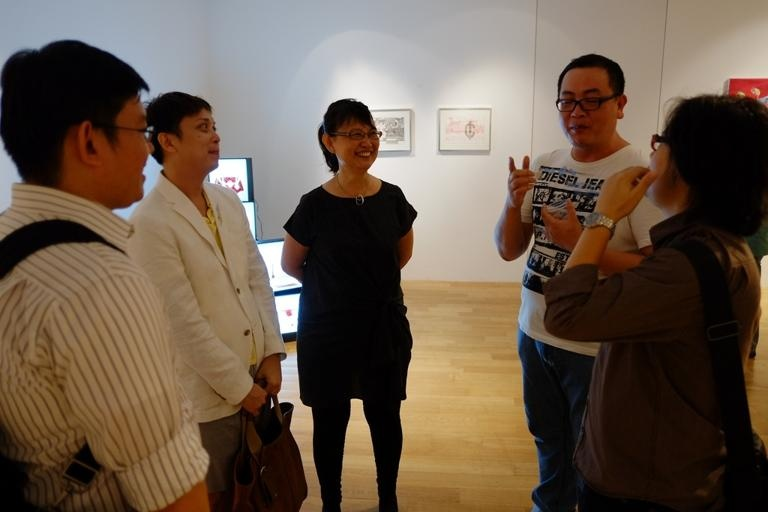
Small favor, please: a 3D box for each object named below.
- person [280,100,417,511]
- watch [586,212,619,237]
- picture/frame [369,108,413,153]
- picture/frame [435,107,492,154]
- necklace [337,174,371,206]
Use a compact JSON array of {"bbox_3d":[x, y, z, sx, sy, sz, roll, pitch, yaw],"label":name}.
[{"bbox_3d":[-0.145,0.290,2.822,0.671,2.044,0.495,-4,14,-11],"label":"person"},{"bbox_3d":[0.721,-0.113,1.901,0.091,0.068,0.099,13,-5,-18],"label":"watch"},{"bbox_3d":[0.085,-1.475,6.748,0.478,0.489,0.051,0,-13,-1],"label":"picture/frame"},{"bbox_3d":[0.949,-1.465,6.615,0.484,0.430,0.042,1,11,6],"label":"picture/frame"},{"bbox_3d":[-0.163,-0.318,2.746,0.167,0.130,0.055,9,17,34],"label":"necklace"}]
